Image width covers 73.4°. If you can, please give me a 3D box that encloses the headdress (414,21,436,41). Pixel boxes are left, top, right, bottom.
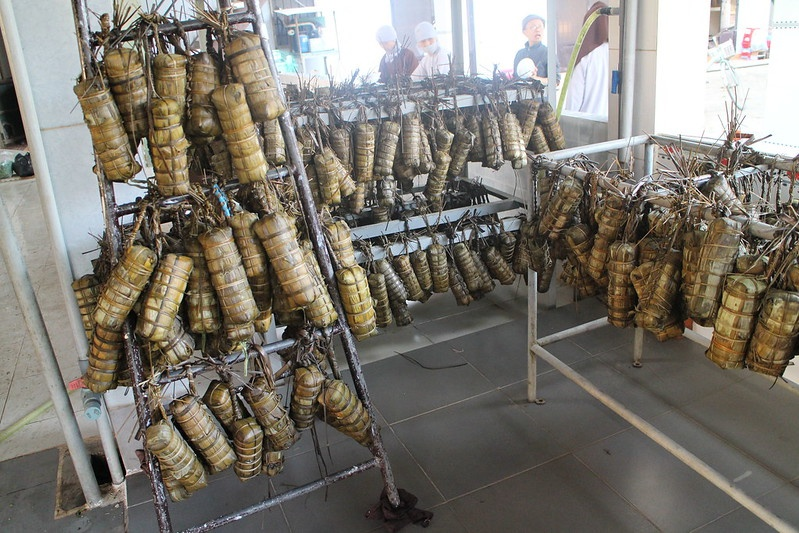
[{"bbox_3d":[0.364,-3.188,7.221,0.237,0.204,0.265,10,41,41],"label":"headdress"}]
